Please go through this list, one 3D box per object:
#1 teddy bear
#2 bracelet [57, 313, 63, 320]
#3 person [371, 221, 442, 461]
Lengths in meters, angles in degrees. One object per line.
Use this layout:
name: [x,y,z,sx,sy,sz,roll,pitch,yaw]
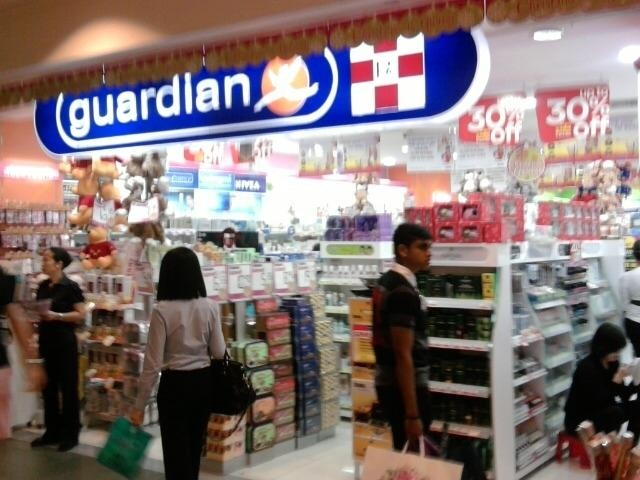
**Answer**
teddy bear: [-2.293,-0.334,5.519,1.371,1.536,0.651,4,8,24]
bracelet: [-2.585,0.757,4.869,0.057,0.054,0.040,2,-3,-38]
person: [0.487,0.607,2.967,0.366,1.098,0.338,-2,1,18]
